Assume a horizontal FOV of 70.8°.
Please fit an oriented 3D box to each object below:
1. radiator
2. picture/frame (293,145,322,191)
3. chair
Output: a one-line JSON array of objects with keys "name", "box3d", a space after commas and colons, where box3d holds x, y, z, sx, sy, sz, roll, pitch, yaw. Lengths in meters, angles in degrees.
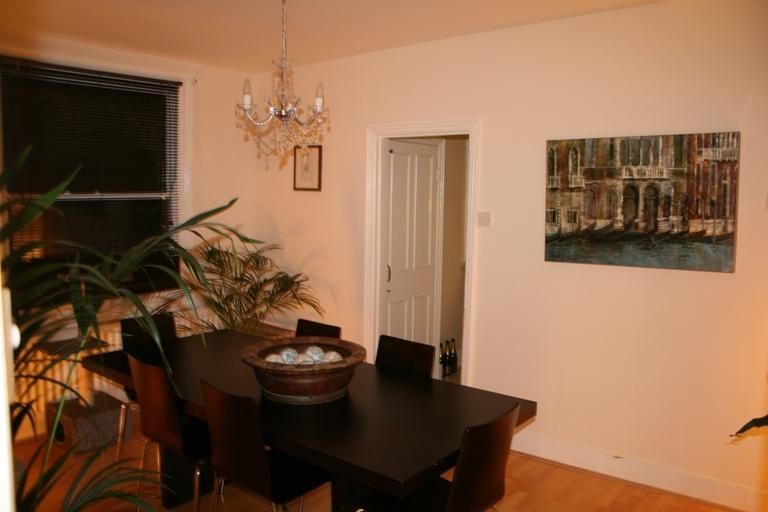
[{"name": "radiator", "box3d": [-1.689, 0.739, 3.407, 1.239, 0.283, 1.122, 6, 2, 39]}, {"name": "picture/frame", "box3d": [-0.752, -0.884, 5.383, 0.445, 0.536, 0.024, 6, 10, 41]}, {"name": "chair", "box3d": [-0.426, 0.955, 3.228, 1.328, 0.634, 0.690, 11, 18, 38]}]
